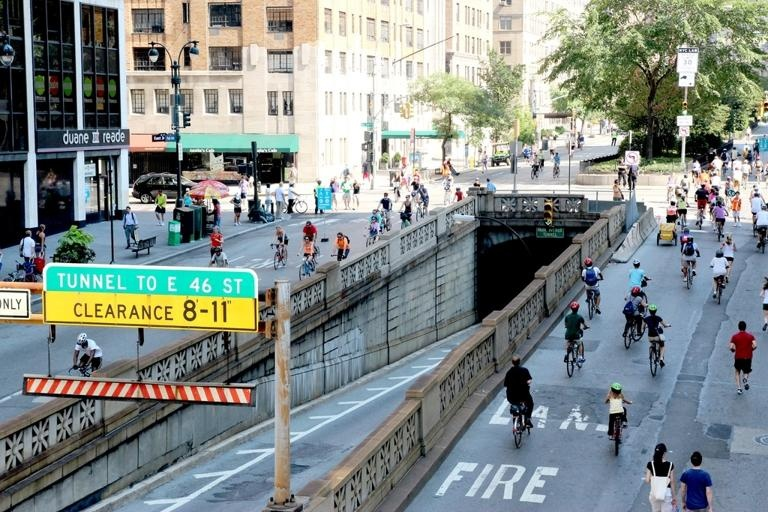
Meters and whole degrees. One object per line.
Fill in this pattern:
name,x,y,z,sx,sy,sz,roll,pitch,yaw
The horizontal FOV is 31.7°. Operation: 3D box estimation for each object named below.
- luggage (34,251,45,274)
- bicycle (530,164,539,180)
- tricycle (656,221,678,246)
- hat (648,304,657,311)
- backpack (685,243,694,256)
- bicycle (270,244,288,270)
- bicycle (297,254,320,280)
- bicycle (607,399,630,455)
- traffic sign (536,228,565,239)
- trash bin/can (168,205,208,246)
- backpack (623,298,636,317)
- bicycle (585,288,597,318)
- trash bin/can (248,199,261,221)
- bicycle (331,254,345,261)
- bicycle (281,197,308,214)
luggage,-14.482,0.328,56.652,0.593,0.844,0.795,-2,9,-3
bicycle,10.403,-5.725,93.046,0.568,0.722,1.203,0,10,25
tricycle,13.603,-1.009,64.846,0.935,1.118,0.940,-1,7,10
hat,10.017,1.941,50.320,0.199,0.191,0.206,5,13,41
backpack,12.632,-0.222,56.453,0.473,0.402,0.771,11,7,23
bicycle,-4.856,-0.021,62.855,0.654,1.198,1.330,-3,7,-4
bicycle,-3.390,0.548,60.210,0.731,0.938,1.545,2,2,25
bicycle,7.672,5.674,44.322,0.689,0.914,1.547,0,2,9
traffic sign,8.348,-1.115,67.636,1.312,0.527,0.759,-2,7,3
trash bin/can,-9.964,-1.578,69.090,1.003,1.723,2.180,-1,7,9
backpack,9.274,2.037,51.048,0.408,0.597,0.580,0,-5,43
bicycle,8.312,1.942,53.930,0.523,0.631,1.074,0,42,15
trash bin/can,-7.287,-2.513,76.100,0.999,1.371,0.994,-2,10,-10
bicycle,-2.006,0.076,60.851,0.407,0.407,0.651,-2,-4,-1
bicycle,-5.249,-2.918,80.697,1.377,0.846,0.686,-6,23,-10
